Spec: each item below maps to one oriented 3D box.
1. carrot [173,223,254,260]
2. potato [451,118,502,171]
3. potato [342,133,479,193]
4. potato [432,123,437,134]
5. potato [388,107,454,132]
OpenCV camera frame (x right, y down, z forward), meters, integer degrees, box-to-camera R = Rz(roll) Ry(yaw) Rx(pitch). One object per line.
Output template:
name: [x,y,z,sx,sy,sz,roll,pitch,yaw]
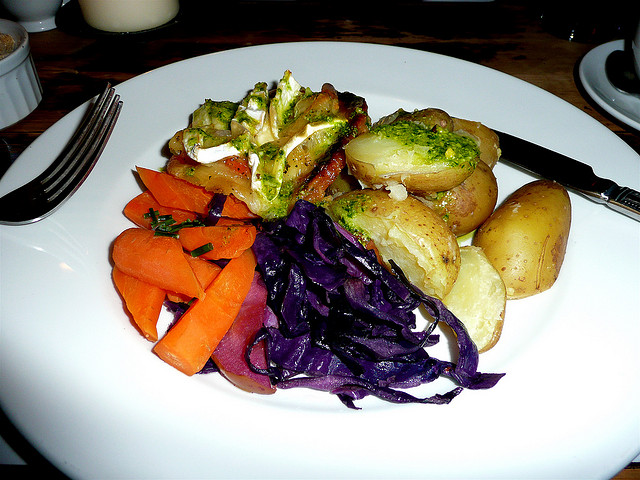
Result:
carrot: [-0.395,0.008,2.190,0.236,0.098,0.142,4,72,10]
potato: [0.688,-0.423,2.440,0.221,0.087,0.178,39,25,10]
potato: [0.321,-0.282,2.220,0.349,0.128,0.266,11,21,-8]
potato: [0.452,-0.441,2.297,0.008,0.031,0.033,14,50,-4]
potato: [0.450,-0.513,2.422,0.148,0.058,0.154,-11,34,2]
